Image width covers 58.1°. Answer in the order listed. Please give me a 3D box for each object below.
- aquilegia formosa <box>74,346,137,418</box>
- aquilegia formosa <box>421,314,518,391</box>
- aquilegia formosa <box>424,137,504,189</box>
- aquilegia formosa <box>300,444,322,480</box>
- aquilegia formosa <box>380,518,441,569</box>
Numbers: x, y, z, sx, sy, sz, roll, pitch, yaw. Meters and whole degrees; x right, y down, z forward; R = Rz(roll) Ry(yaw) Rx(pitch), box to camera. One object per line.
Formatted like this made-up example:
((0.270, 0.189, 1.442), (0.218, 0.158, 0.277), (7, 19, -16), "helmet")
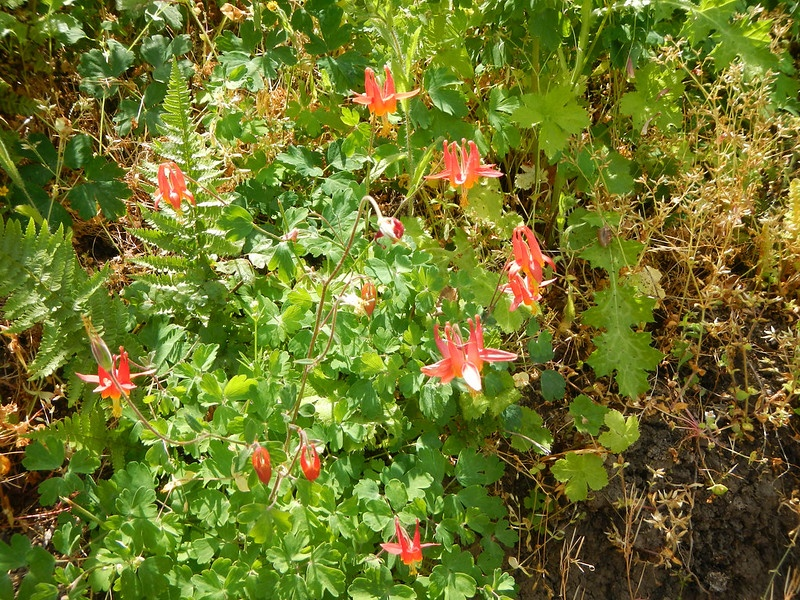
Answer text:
((-1.393, 0.384, 3.411), (0.218, 0.279, 0.259), (-3, 29, 17), "aquilegia formosa")
((0.299, 0.254, 3.230), (0.387, 0.236, 0.303), (14, 51, 35), "aquilegia formosa")
((0.331, -0.676, 3.626), (0.334, 0.265, 0.352), (2, 0, 41), "aquilegia formosa")
((-0.376, 0.678, 3.106), (0.076, 0.066, 0.179), (-5, 92, -14), "aquilegia formosa")
((0.066, 1.116, 3.325), (0.200, 0.270, 0.281), (-3, 85, 5), "aquilegia formosa")
